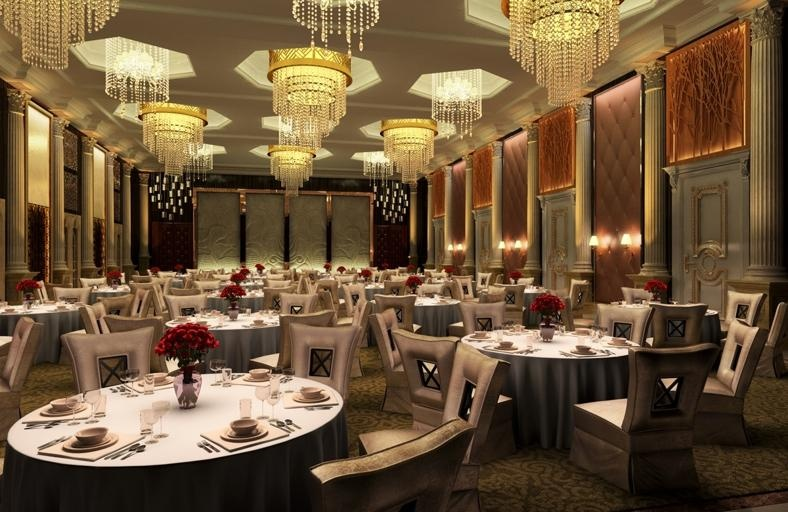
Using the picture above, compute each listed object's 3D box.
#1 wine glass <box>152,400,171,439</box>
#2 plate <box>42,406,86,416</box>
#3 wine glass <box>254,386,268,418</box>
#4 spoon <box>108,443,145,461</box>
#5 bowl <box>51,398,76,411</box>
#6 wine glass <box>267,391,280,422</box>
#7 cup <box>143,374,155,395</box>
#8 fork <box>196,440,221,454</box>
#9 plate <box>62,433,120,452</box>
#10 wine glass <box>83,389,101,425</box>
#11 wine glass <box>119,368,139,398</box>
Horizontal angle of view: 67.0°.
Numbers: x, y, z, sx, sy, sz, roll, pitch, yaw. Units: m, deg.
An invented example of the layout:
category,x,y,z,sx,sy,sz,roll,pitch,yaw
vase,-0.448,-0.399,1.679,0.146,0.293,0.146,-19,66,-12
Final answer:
category,x,y,z,sx,sy,sz,roll,pitch,yaw
wine glass,-1.862,1.248,4.714,0.119,0.266,0.325,-5,11,-22
plate,-2.779,1.274,4.949,0.350,0.061,0.155,0,10,1
wine glass,-1.111,1.175,4.997,0.115,0.250,0.315,-3,10,-13
spoon,-2.004,1.467,4.434,0.084,0.034,0.289,21,12,23
bowl,-2.773,1.234,4.955,0.133,0.053,0.141,0,-8,0
wine glass,-1.013,1.202,4.941,0.084,0.216,0.251,-3,10,-12
cup,-2.199,1.137,5.288,0.082,0.159,0.100,-6,12,-30
fork,-1.420,1.442,4.510,0.069,0.026,0.213,-11,14,-36
plate,-2.313,1.410,4.513,0.392,0.063,0.187,-1,10,-2
wine glass,-2.487,1.203,4.899,0.125,0.242,0.264,-6,11,-27
wine glass,-2.369,1.087,5.304,0.131,0.251,0.337,-6,11,-27
